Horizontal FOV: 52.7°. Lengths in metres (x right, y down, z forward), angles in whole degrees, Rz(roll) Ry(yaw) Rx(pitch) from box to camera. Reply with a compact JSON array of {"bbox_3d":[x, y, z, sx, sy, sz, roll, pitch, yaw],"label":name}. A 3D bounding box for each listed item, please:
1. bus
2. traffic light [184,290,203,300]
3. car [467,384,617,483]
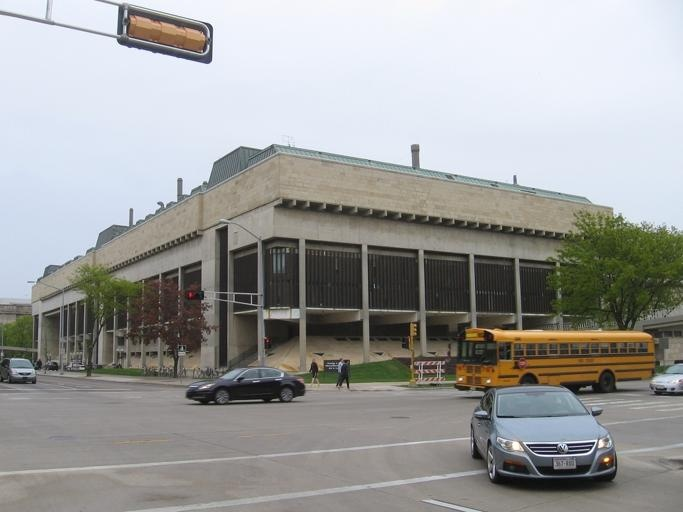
[{"bbox_3d":[11.021,5.364,34.844,11.703,3.032,3.490,7,-13,-33],"label":"bus"},{"bbox_3d":[-9.581,2.545,44.419,0.985,0.565,1.413,1,-5,-15],"label":"traffic light"},{"bbox_3d":[4.073,3.551,13.871,2.546,1.886,2.225,-2,-11,9],"label":"car"}]
